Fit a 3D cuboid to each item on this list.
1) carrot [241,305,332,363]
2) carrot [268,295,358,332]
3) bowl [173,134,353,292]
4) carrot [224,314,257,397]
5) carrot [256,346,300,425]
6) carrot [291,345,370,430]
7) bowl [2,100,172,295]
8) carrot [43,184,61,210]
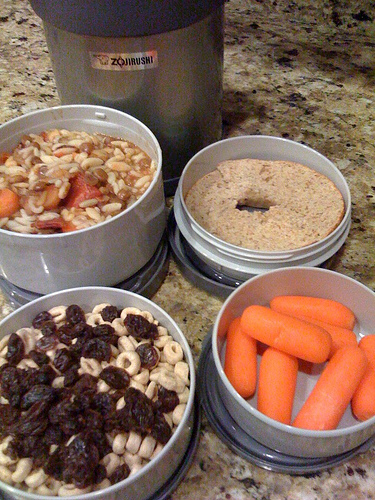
[{"bbox_3d":[0.119,0.100,0.529,0.118,0.038,0.051,20,30,17],"label":"carrot"},{"bbox_3d":[0.170,0.082,0.590,0.112,0.038,0.047,11,20,9],"label":"carrot"},{"bbox_3d":[0.119,-0.066,0.753,0.268,0.084,0.256,-2,51,2],"label":"bowl"},{"bbox_3d":[0.066,0.135,0.553,0.036,0.028,0.085,-2,43,6],"label":"carrot"},{"bbox_3d":[0.103,0.156,0.508,0.044,0.030,0.080,9,42,9],"label":"carrot"},{"bbox_3d":[0.180,0.150,0.544,0.049,0.042,0.138,25,61,40],"label":"carrot"},{"bbox_3d":[-0.151,-0.048,0.743,0.318,0.145,0.297,0,48,0],"label":"bowl"},{"bbox_3d":[-0.190,-0.074,0.617,0.023,0.025,0.036,-8,40,-8],"label":"carrot"}]
